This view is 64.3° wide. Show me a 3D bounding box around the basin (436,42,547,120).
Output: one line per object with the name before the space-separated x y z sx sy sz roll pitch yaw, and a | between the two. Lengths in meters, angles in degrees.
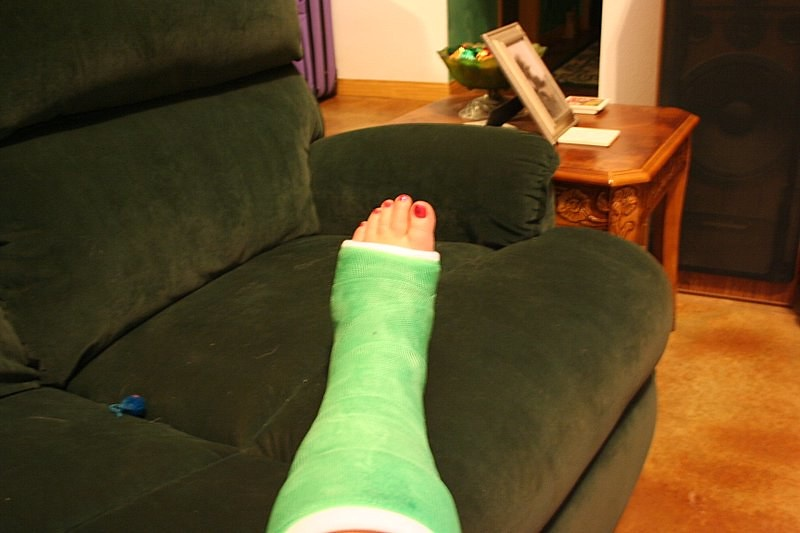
basin | 0.253 -0.520 1.838 0.243 0.147 0.230 3 24 -1

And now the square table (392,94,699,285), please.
square table | 0.404 -0.144 1.688 0.680 0.449 0.560 15 39 29
